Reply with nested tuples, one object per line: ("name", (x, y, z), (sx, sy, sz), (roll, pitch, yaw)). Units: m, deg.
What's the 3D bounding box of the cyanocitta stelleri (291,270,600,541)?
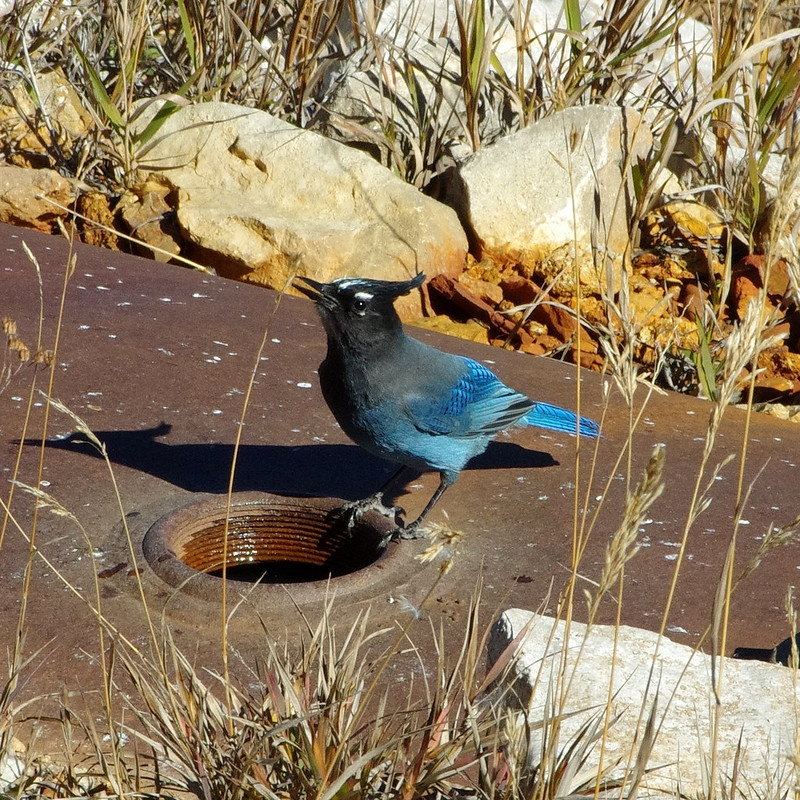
("cyanocitta stelleri", (0.036, -0.035, 5.924), (0.919, 0.882, 0.448), (-18, 37, -40))
